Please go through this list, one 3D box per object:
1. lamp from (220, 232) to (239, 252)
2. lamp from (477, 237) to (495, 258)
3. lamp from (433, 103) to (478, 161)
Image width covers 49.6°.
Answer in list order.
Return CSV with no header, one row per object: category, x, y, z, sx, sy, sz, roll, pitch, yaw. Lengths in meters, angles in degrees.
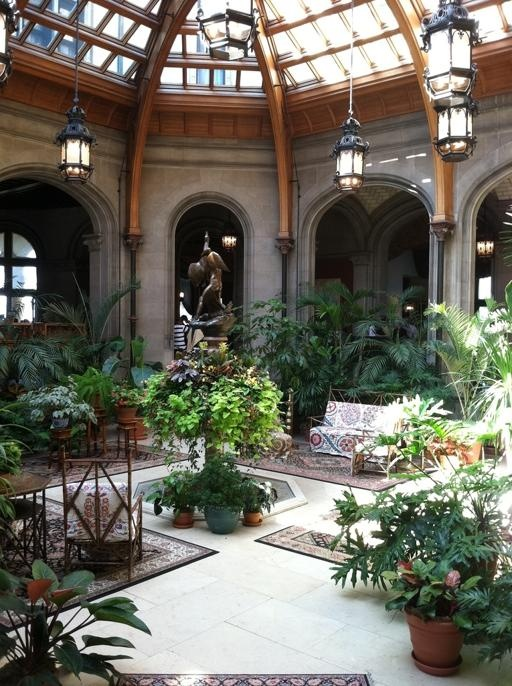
lamp,-0.671,-2.400,13.207,0.433,0.339,0.385,-4,-5,44
lamp,5.374,-2.224,12.978,0.420,0.306,0.419,-1,-3,17
lamp,1.258,-1.414,3.491,0.255,0.476,0.235,1,4,17
